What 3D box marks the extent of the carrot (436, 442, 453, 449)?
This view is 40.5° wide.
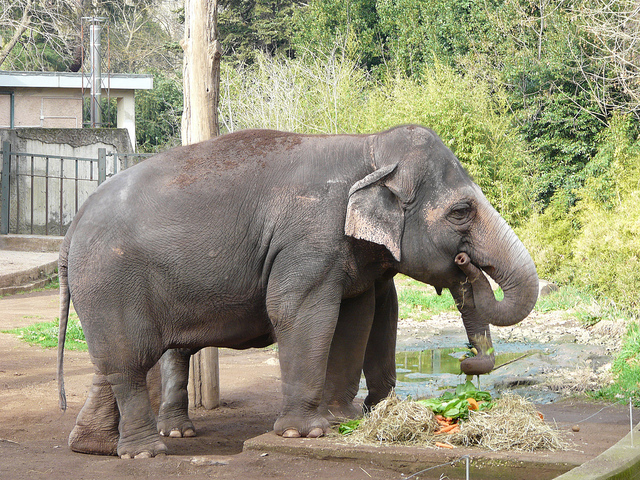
[{"bbox_3d":[1.136,1.848,7.760,0.159,0.044,0.044,10,17,20],"label":"carrot"}]

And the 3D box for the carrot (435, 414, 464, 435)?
[{"bbox_3d":[1.219,1.718,8.032,0.166,0.058,0.167,2,13,17],"label":"carrot"}]

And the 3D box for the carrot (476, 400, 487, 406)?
[{"bbox_3d":[1.556,1.563,8.279,0.077,0.046,0.036,-9,15,-2],"label":"carrot"}]

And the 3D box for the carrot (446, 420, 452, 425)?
[{"bbox_3d":[1.214,1.706,8.064,0.042,0.026,0.029,-3,1,29],"label":"carrot"}]

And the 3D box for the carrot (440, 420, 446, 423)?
[{"bbox_3d":[1.163,1.692,8.070,0.029,0.018,0.019,1,7,12],"label":"carrot"}]
